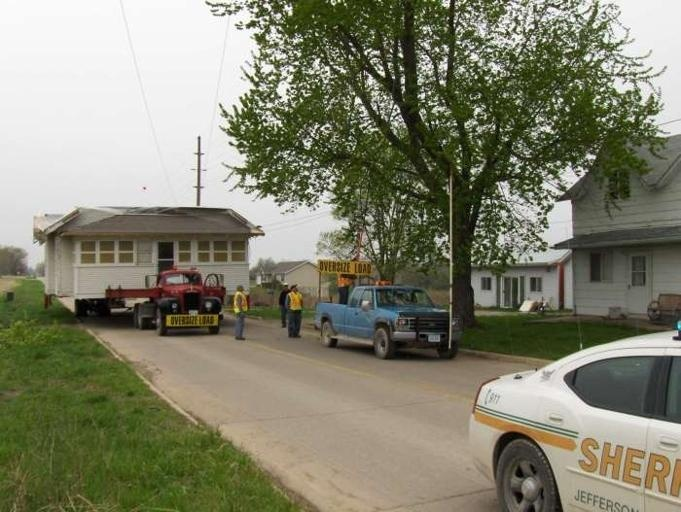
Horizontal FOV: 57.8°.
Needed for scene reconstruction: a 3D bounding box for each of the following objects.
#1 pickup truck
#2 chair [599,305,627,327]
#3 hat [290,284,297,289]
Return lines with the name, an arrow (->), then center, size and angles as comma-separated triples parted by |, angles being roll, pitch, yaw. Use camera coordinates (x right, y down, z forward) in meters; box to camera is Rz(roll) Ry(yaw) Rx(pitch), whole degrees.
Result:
pickup truck -> 1.110, 1.957, 19.549 | 2.611, 2.040, 6.030 | 1, -3, -21
chair -> 11.170, 2.418, 24.912 | 0.825, 0.726, 0.905 | 0, -1, -8
hat -> -1.876, 1.231, 24.554 | 0.173, 0.231, 0.249 | 0, -26, -23
